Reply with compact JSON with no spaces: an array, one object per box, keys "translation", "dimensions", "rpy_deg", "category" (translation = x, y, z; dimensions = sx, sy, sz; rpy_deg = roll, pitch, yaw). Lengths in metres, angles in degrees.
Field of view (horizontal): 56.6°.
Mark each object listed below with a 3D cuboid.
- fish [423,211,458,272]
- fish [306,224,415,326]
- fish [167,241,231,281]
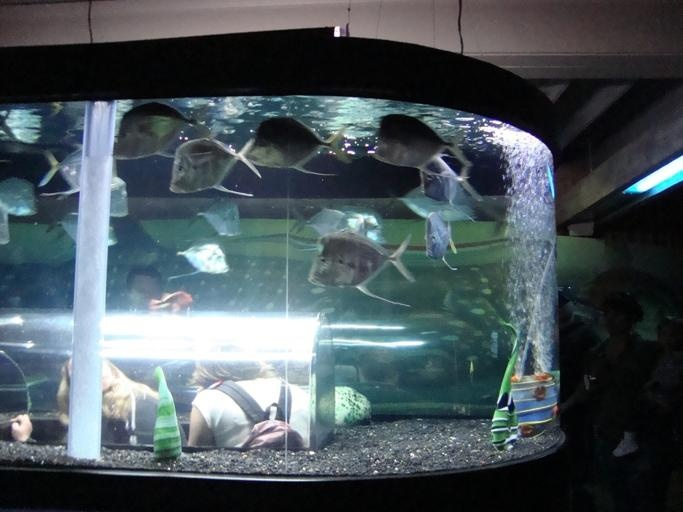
[{"translation":[0.520,-0.093,3.602],"dimensions":[0.299,0.363,0.172],"rpy_deg":[-3,68,6],"category":"fish"},{"translation":[0.098,0.049,3.545],"dimensions":[0.631,0.111,0.379],"rpy_deg":[4,96,30],"category":"fish"},{"translation":[-0.781,0.023,3.451],"dimensions":[0.093,0.360,0.298],"rpy_deg":[32,103,20],"category":"fish"}]
